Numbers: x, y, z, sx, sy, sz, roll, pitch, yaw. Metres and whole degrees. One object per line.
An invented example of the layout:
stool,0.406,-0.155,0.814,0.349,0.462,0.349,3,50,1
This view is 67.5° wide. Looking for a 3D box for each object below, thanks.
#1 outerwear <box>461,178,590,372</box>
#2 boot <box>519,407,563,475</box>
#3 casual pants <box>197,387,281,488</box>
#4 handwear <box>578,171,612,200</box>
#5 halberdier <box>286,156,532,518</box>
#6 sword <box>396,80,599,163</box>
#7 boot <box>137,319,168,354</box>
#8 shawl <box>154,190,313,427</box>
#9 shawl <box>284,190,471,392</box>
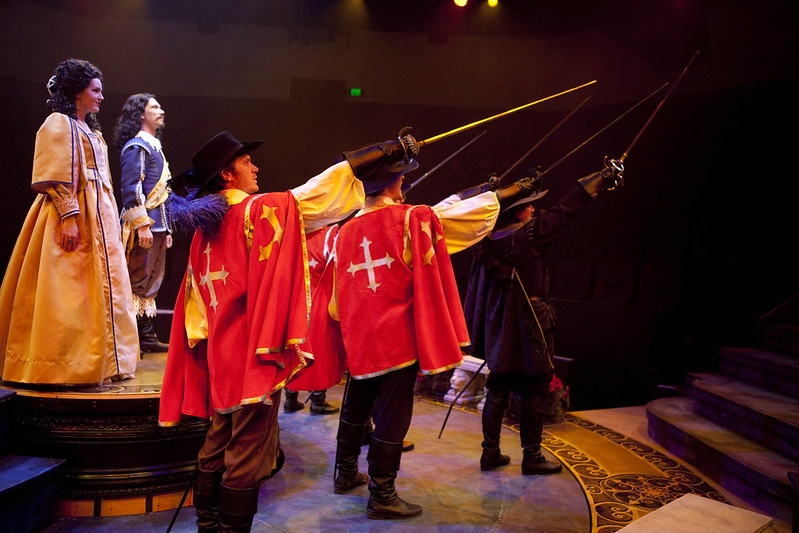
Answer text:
outerwear,1.236,0.149,5.507,1.212,1.607,1.049,-1,11,26
boot,1.235,1.538,5.208,0.380,0.497,0.164,1,-9,-4
casual pants,-1.136,1.196,3.994,0.322,0.627,0.236,1,-17,16
handwear,1.691,-0.702,5.212,0.193,0.222,0.255,10,14,32
halberdier,-0.329,0.345,6.109,2.043,3.597,2.496,10,11,42
sword,1.279,-1.845,7.446,3.661,0.097,0.110,-27,28,-19
boot,-2.435,0.673,5.930,0.415,0.372,0.149,7,12,17
shawl,-1.074,0.334,4.039,1.051,1.667,0.573,7,14,21
shawl,-0.145,0.213,4.730,1.417,1.278,0.599,-5,-5,31
